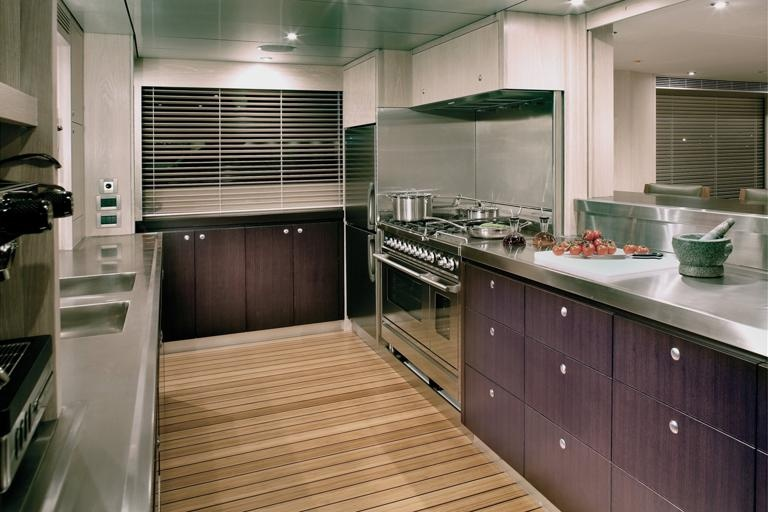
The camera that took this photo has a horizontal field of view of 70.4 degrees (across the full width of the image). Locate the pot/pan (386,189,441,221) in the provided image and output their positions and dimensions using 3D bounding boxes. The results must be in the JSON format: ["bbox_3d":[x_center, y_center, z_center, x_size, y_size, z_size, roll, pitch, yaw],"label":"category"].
[{"bbox_3d":[0.232,-0.419,4.516,0.428,0.260,0.332,-2,6,-8],"label":"pot/pan"}]

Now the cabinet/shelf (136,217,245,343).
[{"bbox_3d":[-1.853,0.243,5.333,0.674,1.108,0.880,-7,-13,34],"label":"cabinet/shelf"}]

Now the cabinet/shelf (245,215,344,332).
[{"bbox_3d":[-0.803,0.170,5.628,1.054,0.940,0.563,-2,-4,19],"label":"cabinet/shelf"}]

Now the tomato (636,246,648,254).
[{"bbox_3d":[1.402,-0.032,2.927,0.059,0.055,0.056,-2,1,1],"label":"tomato"}]

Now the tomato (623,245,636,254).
[{"bbox_3d":[1.306,-0.034,2.877,0.047,0.043,0.045,3,-4,-13],"label":"tomato"}]

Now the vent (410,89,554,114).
[{"bbox_3d":[0.731,-1.166,4.172,0.476,0.115,1.243,-5,14,-20],"label":"vent"}]

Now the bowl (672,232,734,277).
[{"bbox_3d":[1.531,-0.004,2.611,0.265,0.173,0.251,-3,10,1],"label":"bowl"}]

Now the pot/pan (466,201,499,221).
[{"bbox_3d":[0.778,-0.334,4.263,0.203,0.182,0.197,-1,2,-30],"label":"pot/pan"}]

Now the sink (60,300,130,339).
[{"bbox_3d":[-1.391,0.296,2.607,0.332,0.106,0.224,-6,-6,28],"label":"sink"}]

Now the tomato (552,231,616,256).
[{"bbox_3d":[1.102,-0.058,2.918,0.231,0.085,0.188,-8,12,-32],"label":"tomato"}]
